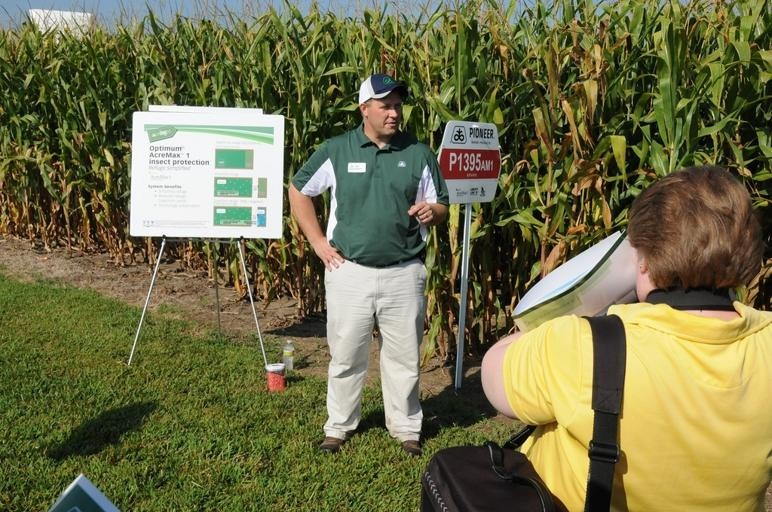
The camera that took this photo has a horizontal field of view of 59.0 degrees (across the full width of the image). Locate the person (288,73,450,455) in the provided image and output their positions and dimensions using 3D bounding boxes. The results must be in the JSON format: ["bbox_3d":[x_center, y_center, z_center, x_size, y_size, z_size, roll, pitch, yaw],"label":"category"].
[{"bbox_3d":[-0.105,0.086,5.295,1.139,2.900,0.609,2,14,4],"label":"person"}]

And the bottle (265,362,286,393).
[{"bbox_3d":[-1.018,1.137,6.416,0.186,0.233,0.243,5,14,14],"label":"bottle"}]

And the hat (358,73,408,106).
[{"bbox_3d":[-0.051,-1.257,5.197,0.220,0.177,0.299,-14,16,-35],"label":"hat"}]
